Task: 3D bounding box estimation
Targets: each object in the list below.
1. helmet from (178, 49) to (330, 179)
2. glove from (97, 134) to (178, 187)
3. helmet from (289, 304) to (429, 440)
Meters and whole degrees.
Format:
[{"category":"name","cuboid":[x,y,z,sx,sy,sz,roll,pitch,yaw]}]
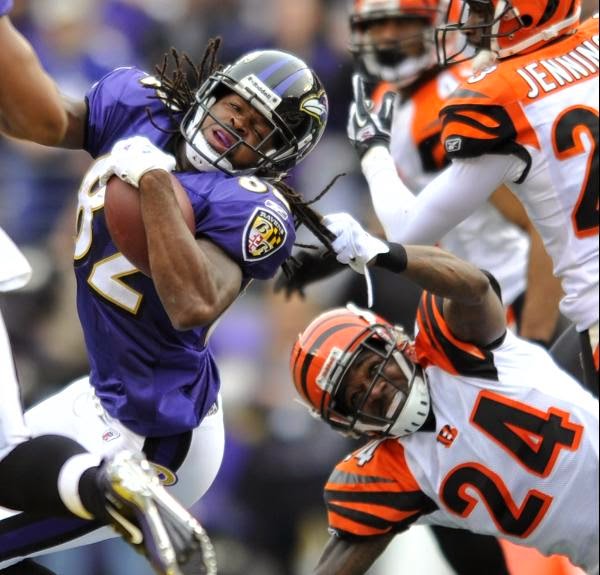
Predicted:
[{"category":"helmet","cuboid":[-0.068,-0.520,2.624,0.336,0.387,0.459,24,27,11]},{"category":"glove","cuboid":[-0.407,-0.314,2.108,0.159,0.073,0.128,-31,40,-8]},{"category":"helmet","cuboid":[0.202,0.294,2.883,0.463,0.436,0.360,17,31,42]}]
